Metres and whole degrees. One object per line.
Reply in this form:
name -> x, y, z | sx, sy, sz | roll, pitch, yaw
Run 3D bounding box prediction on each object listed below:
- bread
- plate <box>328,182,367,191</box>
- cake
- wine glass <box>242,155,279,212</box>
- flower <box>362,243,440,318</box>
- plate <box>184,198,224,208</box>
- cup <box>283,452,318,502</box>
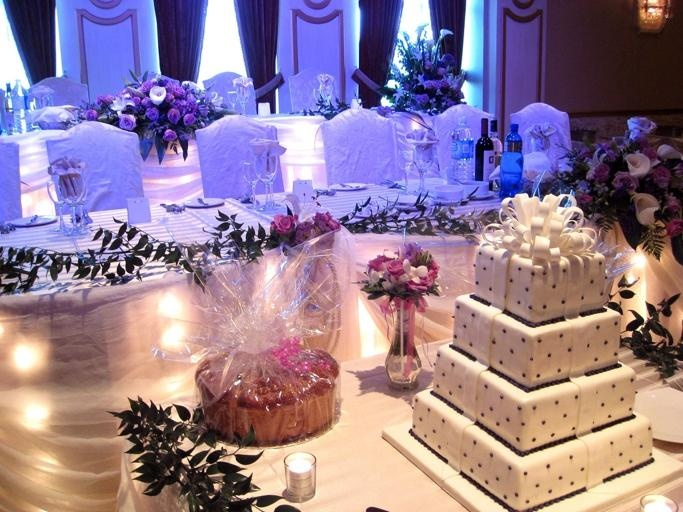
bread -> -0.204, 0.361, 1.298 | 0.279, 0.154, 0.298 | -3, 15, -6
plate -> 0.045, -0.430, 2.915 | 0.252, 0.044, 0.190 | -6, 12, -7
cake -> 0.466, 0.208, 1.075 | 0.585, 0.663, 0.301 | -4, 11, -1
wine glass -> -0.449, -0.412, 2.564 | 0.183, 0.288, 0.376 | -6, 12, -11
flower -> 0.191, 0.042, 1.431 | 0.209, 0.190, 0.203 | -7, 12, -39
plate -> -0.757, -0.286, 2.528 | 0.220, 0.051, 0.147 | -8, 12, -18
cup -> -0.097, 0.515, 1.070 | 0.078, 0.102, 0.090 | -1, 3, 3
